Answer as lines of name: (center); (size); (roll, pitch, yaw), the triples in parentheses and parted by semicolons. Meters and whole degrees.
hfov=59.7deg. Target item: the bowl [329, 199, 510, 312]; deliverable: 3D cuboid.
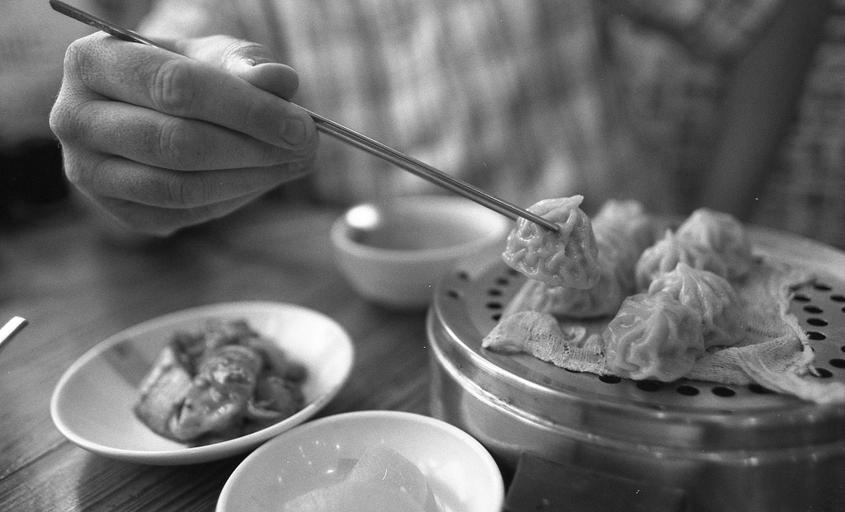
bowl: (0.037, -0.079, 1.842); (0.465, 0.266, 0.388); (3, 18, 11)
